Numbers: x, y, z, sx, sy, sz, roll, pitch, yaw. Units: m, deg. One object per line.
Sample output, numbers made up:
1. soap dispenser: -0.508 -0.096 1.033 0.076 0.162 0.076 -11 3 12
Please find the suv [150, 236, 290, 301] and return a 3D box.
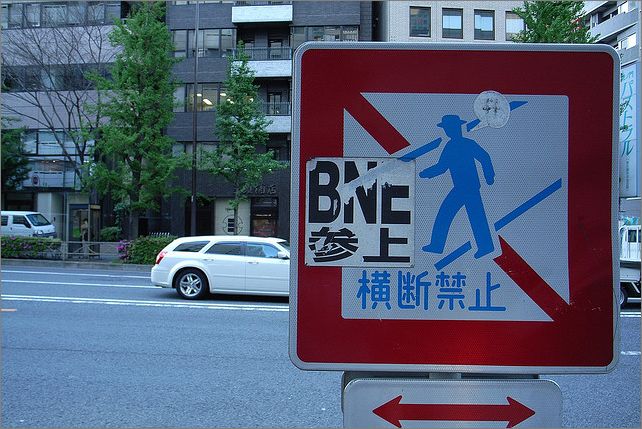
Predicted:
1. suv: -2.943 1.657 25.049 4.636 1.390 1.936 0 -2 1
